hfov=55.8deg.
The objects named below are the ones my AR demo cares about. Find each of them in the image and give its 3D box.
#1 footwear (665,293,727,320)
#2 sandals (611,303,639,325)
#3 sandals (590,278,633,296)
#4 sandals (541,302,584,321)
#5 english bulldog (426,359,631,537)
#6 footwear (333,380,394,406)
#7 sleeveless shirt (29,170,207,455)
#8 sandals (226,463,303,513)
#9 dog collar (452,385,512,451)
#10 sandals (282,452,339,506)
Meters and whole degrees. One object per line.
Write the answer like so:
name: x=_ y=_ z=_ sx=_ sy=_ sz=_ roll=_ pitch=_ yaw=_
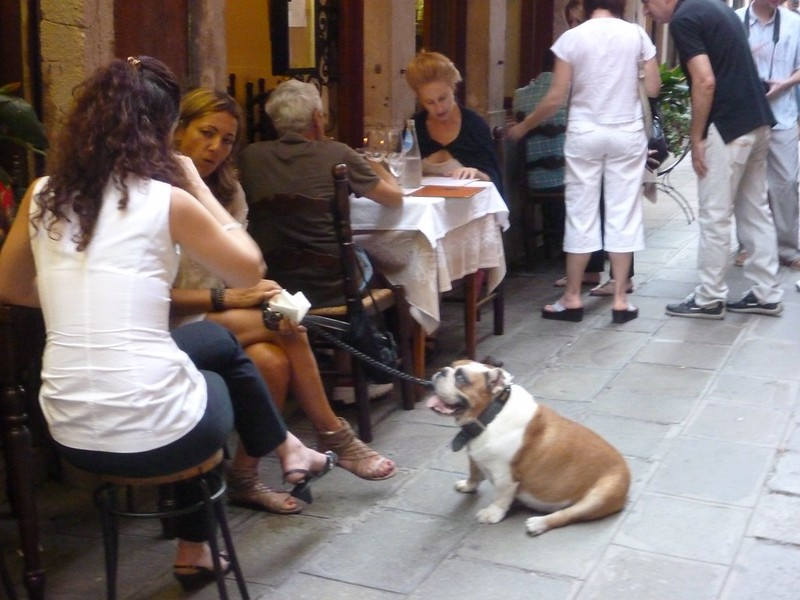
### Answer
footwear: x=2.344 y=0.057 z=6.083 sx=0.506 sy=0.158 sz=0.180 roll=5 pitch=15 yaw=32
sandals: x=1.783 y=0.123 z=5.969 sx=0.103 sy=0.088 sz=0.293 roll=5 pitch=10 yaw=35
sandals: x=1.862 y=-0.113 z=6.693 sx=0.397 sy=0.108 sz=0.149 roll=0 pitch=14 yaw=8
sandals: x=1.322 y=0.095 z=6.161 sx=0.321 sy=0.098 sz=0.152 roll=7 pitch=13 yaw=35
english bulldog: x=0.549 y=0.624 z=3.375 sx=1.146 sy=0.565 sz=0.667 roll=2 pitch=12 yaw=6
footwear: x=-0.261 y=0.567 z=4.583 sx=0.487 sy=0.143 sz=0.131 roll=-5 pitch=23 yaw=-6
sleeveless shirt: x=-0.911 y=0.053 z=2.348 sx=0.541 sy=0.836 sz=0.304 roll=-9 pitch=18 yaw=-7
sandals: x=-0.553 y=0.857 z=3.488 sx=0.511 sy=0.207 sz=0.144 roll=4 pitch=23 yaw=0
dog collar: x=0.338 y=0.512 z=3.186 sx=0.322 sy=0.079 sz=0.228 roll=-36 pitch=7 yaw=6
sandals: x=-0.375 y=0.761 z=3.271 sx=0.146 sy=0.107 sz=0.373 roll=3 pitch=12 yaw=25
